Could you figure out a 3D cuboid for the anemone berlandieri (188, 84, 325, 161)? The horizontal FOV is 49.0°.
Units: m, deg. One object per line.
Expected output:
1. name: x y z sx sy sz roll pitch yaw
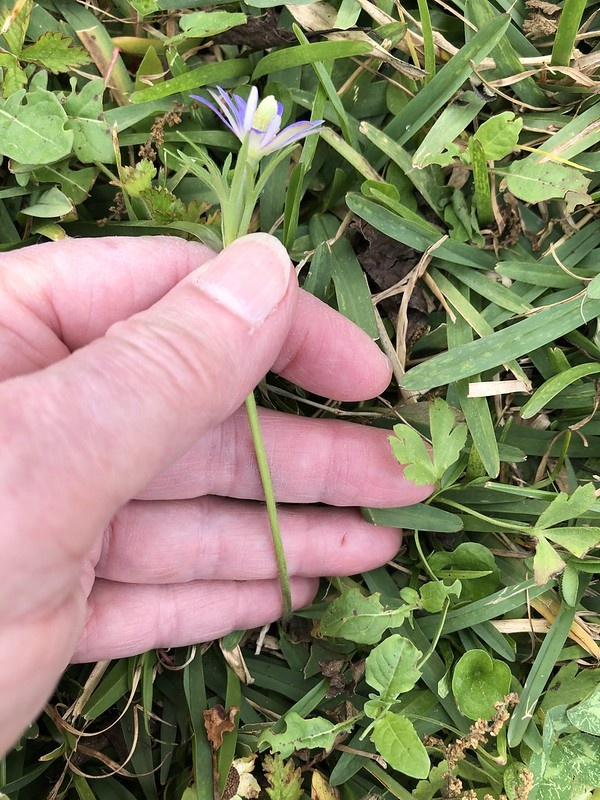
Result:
1. anemone berlandieri: -0.044 -0.314 0.765 0.136 0.138 0.073 14 -70 -4
